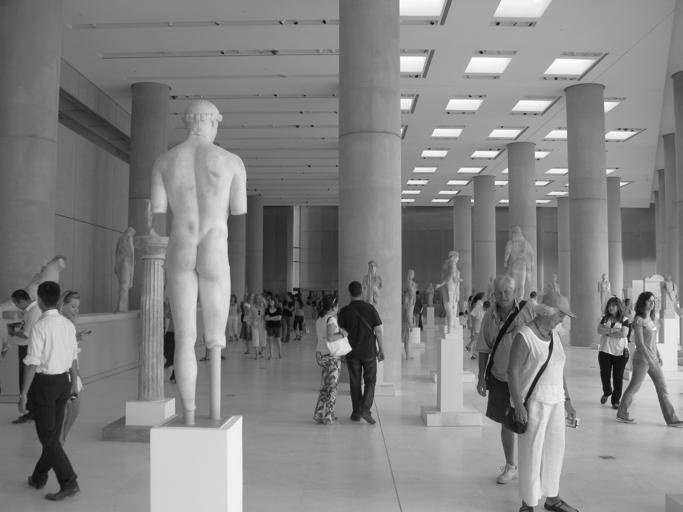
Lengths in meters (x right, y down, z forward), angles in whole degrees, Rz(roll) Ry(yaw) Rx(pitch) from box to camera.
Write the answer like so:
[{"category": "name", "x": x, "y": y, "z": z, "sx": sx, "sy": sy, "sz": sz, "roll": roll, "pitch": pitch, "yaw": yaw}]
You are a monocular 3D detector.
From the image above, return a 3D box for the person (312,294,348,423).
[{"category": "person", "x": -0.214, "y": 1.849, "z": 11.613, "sx": 0.560, "sy": 2.317, "sz": 0.814, "roll": 0, "pitch": -4, "yaw": -3}]

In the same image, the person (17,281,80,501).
[{"category": "person", "x": -4.013, "y": 1.814, "z": 8.959, "sx": 0.728, "sy": 2.926, "sz": 0.579, "roll": 1, "pitch": -4, "yaw": -27}]

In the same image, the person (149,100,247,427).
[{"category": "person", "x": -1.649, "y": -0.021, "z": 7.470, "sx": 1.064, "sy": 3.711, "sz": 0.468, "roll": 0, "pitch": -4, "yaw": -7}]

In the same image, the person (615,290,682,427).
[{"category": "person", "x": 5.549, "y": 1.866, "z": 11.853, "sx": 1.012, "sy": 2.415, "sz": 0.530, "roll": -2, "pitch": -4, "yaw": 24}]
